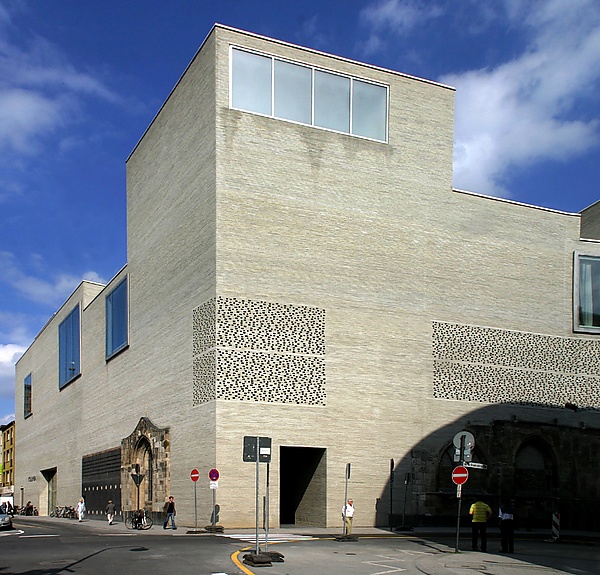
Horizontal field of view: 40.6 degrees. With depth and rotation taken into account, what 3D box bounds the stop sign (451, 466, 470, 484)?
[{"bbox_3d":[4.982,5.793,25.313,0.405,0.639,1.061,-5,-20,14],"label":"stop sign"}]
